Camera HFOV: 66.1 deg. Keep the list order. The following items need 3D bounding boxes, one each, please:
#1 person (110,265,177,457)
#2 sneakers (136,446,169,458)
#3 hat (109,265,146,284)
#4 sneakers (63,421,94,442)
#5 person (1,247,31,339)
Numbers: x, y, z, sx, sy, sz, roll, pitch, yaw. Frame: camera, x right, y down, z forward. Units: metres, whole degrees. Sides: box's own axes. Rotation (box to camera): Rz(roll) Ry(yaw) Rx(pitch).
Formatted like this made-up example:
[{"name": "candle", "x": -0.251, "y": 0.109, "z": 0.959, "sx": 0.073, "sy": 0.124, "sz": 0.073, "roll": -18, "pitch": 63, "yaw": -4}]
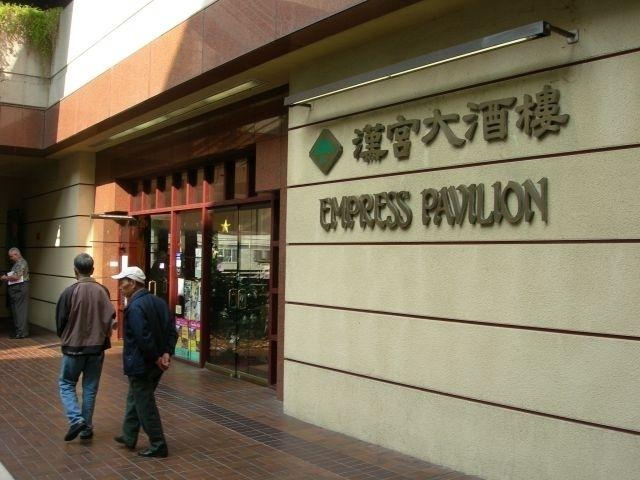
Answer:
[{"name": "person", "x": -1.876, "y": 1.297, "z": 5.301, "sx": 0.590, "sy": 1.998, "sz": 0.666, "roll": 2, "pitch": -3, "yaw": -23}, {"name": "sneakers", "x": -1.763, "y": 2.222, "z": 5.239, "sx": 0.341, "sy": 0.141, "sz": 0.123, "roll": 6, "pitch": -11, "yaw": 4}, {"name": "hat", "x": -2.235, "y": 0.388, "z": 5.515, "sx": 0.467, "sy": 0.249, "sz": 0.302, "roll": 5, "pitch": -7, "yaw": -7}, {"name": "sneakers", "x": -2.705, "y": 2.158, "z": 5.533, "sx": 0.168, "sy": 0.176, "sz": 0.419, "roll": 6, "pitch": -34, "yaw": -30}, {"name": "person", "x": -7.966, "y": 1.357, "z": 12.812, "sx": 0.628, "sy": 2.316, "sz": 1.173, "roll": 2, "pitch": -3, "yaw": -31}]
